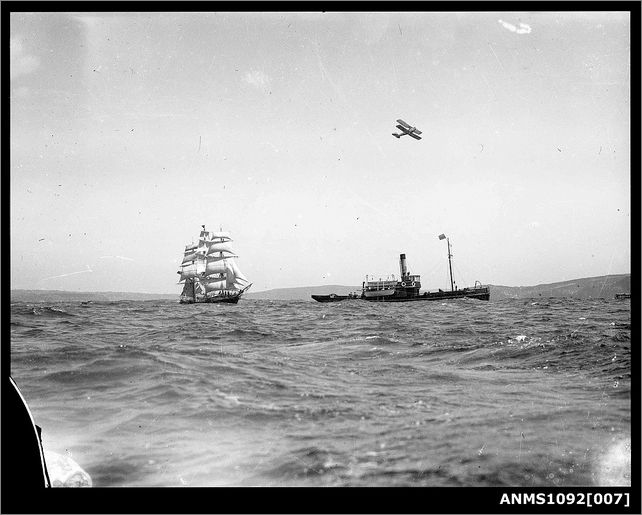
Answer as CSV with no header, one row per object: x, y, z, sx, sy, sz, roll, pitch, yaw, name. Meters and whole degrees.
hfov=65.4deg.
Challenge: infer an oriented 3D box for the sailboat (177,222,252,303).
-8.634,0.728,39.262,7.034,7.473,3.332,-10,-5,43,sailboat
